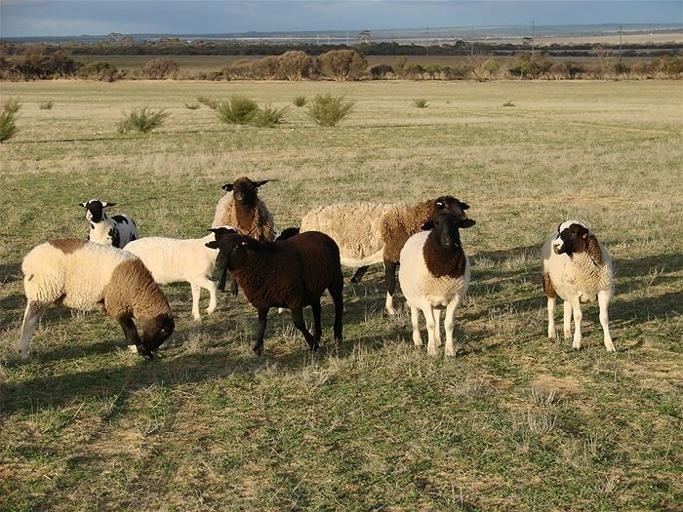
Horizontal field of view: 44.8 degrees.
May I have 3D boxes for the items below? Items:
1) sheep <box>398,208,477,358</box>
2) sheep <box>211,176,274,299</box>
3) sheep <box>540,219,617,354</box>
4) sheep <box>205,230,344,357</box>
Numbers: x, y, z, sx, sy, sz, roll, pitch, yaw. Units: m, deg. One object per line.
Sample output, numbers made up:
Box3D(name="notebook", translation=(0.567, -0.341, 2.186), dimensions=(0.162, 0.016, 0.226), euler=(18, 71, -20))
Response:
Box3D(name="sheep", translation=(1.503, 0.369, 13.511), dimensions=(0.820, 2.250, 1.285), euler=(-9, 15, -28))
Box3D(name="sheep", translation=(-2.243, -0.379, 17.546), dimensions=(1.060, 2.436, 2.893), euler=(-1, 3, -17))
Box3D(name="sheep", translation=(3.926, 0.382, 13.648), dimensions=(1.103, 2.013, 1.411), euler=(1, 14, 16))
Box3D(name="sheep", translation=(-0.985, 0.557, 13.913), dimensions=(2.726, 2.112, 1.129), euler=(-4, 5, -44))
